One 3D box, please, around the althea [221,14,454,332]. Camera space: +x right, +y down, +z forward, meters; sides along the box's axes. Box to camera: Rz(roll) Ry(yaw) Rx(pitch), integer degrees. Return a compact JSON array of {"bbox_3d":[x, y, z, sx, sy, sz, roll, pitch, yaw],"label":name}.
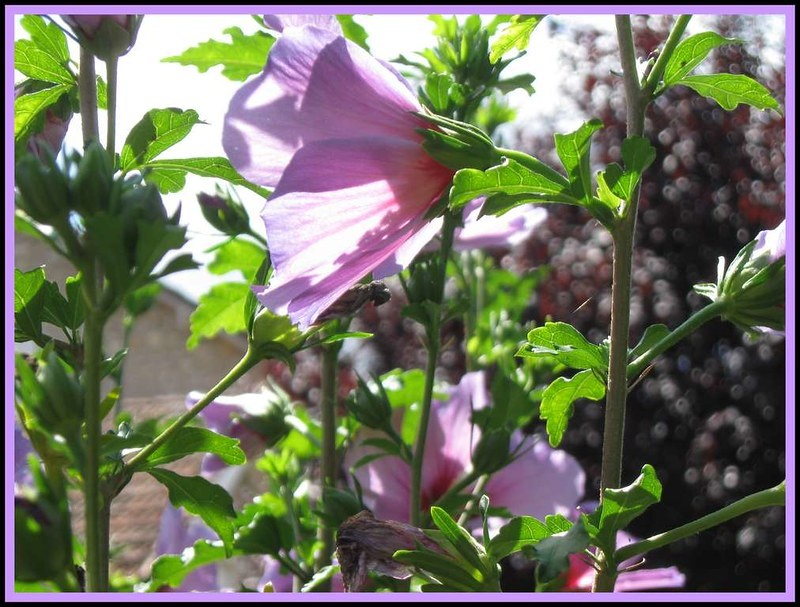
[{"bbox_3d":[-0.118,-0.235,1.872,0.239,0.524,0.452,-6,-4,-16],"label":"althea"}]
